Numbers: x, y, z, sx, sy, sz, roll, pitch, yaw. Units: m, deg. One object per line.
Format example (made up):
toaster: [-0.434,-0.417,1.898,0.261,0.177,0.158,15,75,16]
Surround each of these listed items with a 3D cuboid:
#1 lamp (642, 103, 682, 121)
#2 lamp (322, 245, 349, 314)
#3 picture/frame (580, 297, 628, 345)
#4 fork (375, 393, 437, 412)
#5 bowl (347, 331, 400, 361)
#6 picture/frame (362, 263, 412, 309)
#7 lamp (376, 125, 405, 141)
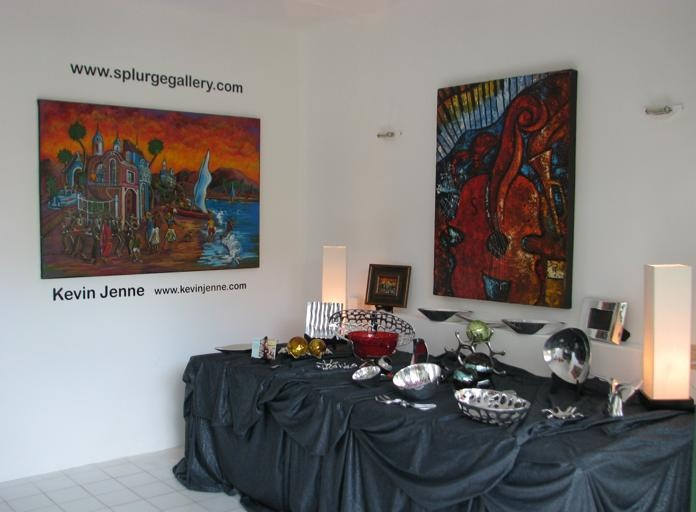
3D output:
lamp: [2.065,-0.959,3.769,0.217,0.096,0.057,1,0,24]
lamp: [-0.111,0.163,4.718,0.186,0.507,0.297,1,0,-6]
picture/frame: [1.722,0.441,3.932,0.277,0.322,0.036,5,-38,35]
fork: [0.343,0.850,3.340,0.435,0.062,0.038,2,-43,41]
bowl: [0.178,0.620,4.022,0.224,0.119,0.234,1,-6,0]
picture/frame: [0.356,0.250,4.980,0.343,0.368,0.124,4,-9,29]
lamp: [0.343,-1.078,4.973,0.258,0.113,0.112,1,-1,35]
